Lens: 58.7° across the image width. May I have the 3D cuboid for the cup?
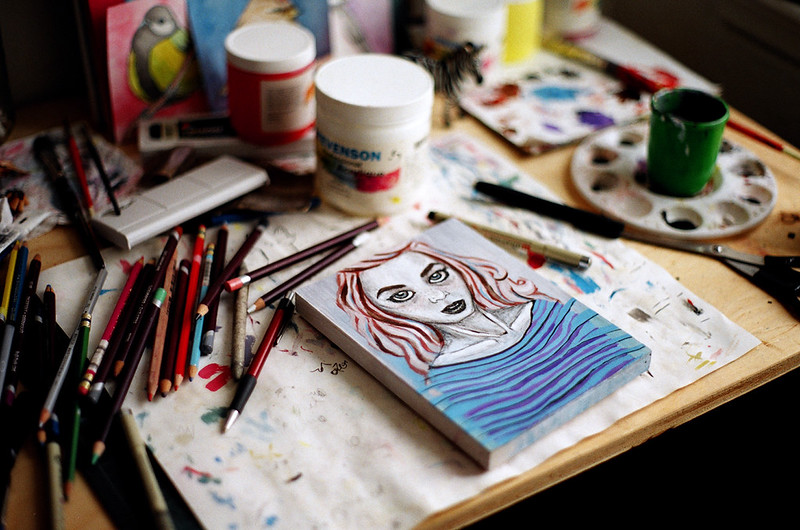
[{"bbox_3d":[0.362,-0.150,0.909,0.102,0.107,0.106,0,34,0],"label":"cup"}]

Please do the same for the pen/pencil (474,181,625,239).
[{"bbox_3d":[0.189,-0.066,0.898,0.148,0.023,0.024,22,90,15],"label":"pen/pencil"}]

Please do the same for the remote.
[{"bbox_3d":[-0.280,-0.176,0.935,0.117,0.017,0.059,-5,54,-11],"label":"remote"}]

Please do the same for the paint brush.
[{"bbox_3d":[0.402,-0.243,1.051,0.446,0.039,0.036,31,52,7],"label":"paint brush"}]

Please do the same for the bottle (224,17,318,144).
[{"bbox_3d":[-0.170,-0.245,0.950,0.113,0.122,0.114,-22,46,-29],"label":"bottle"}]

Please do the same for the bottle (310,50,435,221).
[{"bbox_3d":[-0.034,-0.168,0.906,0.142,0.156,0.147,17,42,15],"label":"bottle"}]
